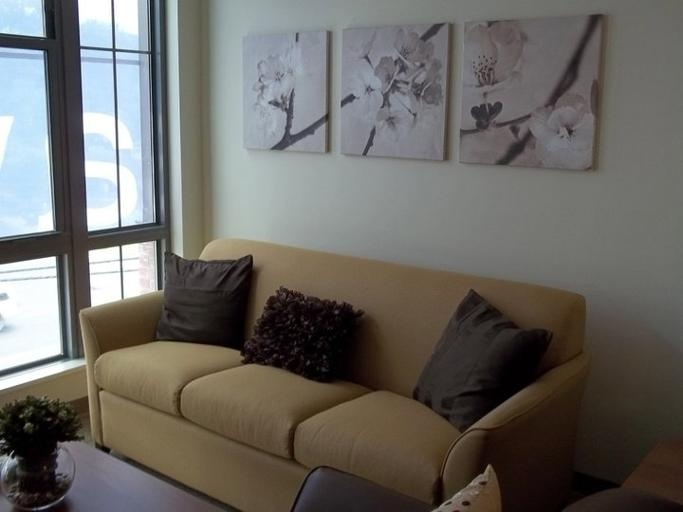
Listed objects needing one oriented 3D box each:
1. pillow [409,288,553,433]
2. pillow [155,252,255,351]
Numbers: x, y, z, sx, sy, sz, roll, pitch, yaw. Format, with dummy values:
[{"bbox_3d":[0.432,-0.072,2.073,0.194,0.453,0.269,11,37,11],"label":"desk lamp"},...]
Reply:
[{"bbox_3d":[0.622,0.453,2.759,0.429,0.745,0.751,10,1,-26],"label":"pillow"},{"bbox_3d":[-0.775,0.285,3.346,0.469,0.503,0.247,2,-6,14],"label":"pillow"}]
